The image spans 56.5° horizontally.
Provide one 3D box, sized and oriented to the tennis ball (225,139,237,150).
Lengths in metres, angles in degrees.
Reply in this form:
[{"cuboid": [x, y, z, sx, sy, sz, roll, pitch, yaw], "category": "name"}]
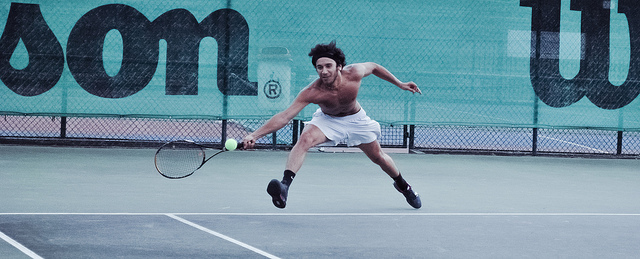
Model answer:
[{"cuboid": [-1.857, 0.305, 12.268, 0.239, 0.193, 0.245, 15, 13, -4], "category": "tennis ball"}]
